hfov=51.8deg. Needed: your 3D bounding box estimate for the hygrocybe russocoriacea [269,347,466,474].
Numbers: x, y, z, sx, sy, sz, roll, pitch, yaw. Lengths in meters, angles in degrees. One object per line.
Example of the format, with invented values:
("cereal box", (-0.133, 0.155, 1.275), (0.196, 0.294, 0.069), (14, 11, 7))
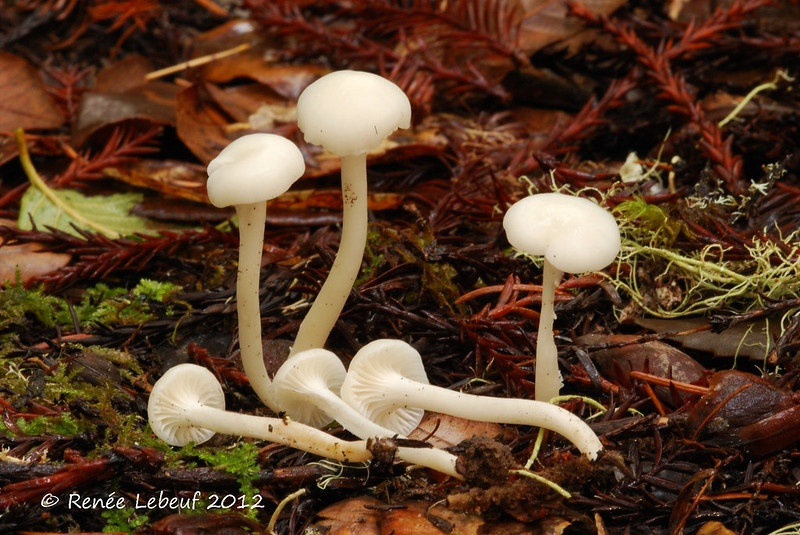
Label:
("hygrocybe russocoriacea", (-0.003, 0.359, 2.456), (0.326, 0.738, 0.275), (-34, 85, -7))
